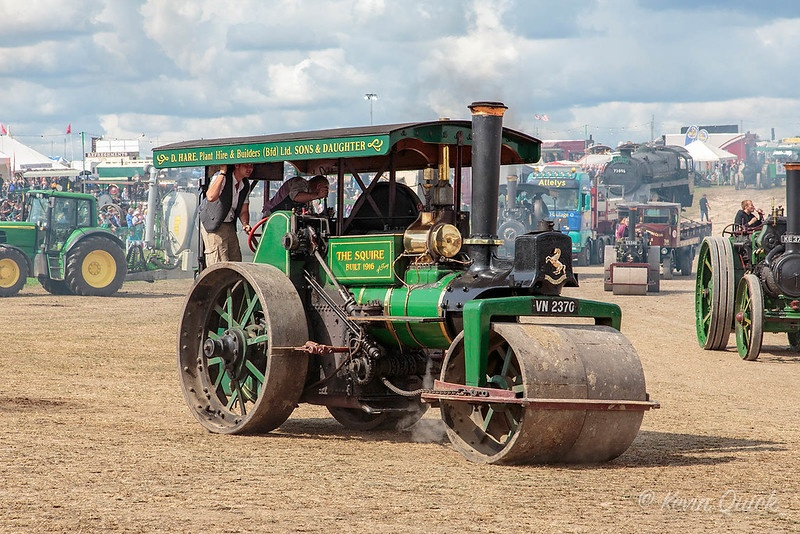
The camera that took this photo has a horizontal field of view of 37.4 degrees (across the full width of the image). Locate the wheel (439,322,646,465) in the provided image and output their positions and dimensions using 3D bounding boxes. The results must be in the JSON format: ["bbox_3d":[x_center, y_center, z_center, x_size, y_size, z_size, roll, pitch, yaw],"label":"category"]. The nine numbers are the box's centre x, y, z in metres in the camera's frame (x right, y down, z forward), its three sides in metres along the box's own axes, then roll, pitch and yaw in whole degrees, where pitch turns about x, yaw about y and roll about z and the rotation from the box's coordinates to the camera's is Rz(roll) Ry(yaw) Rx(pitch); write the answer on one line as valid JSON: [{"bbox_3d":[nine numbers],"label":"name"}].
[{"bbox_3d":[1.443,1.377,12.590,1.807,1.594,1.550,2,3,-16],"label":"wheel"}]

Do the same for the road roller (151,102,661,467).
[{"bbox_3d":[0.099,0.183,13.722,3.281,3.807,6.024,4,-2,-39],"label":"road roller"}]

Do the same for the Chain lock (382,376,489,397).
[{"bbox_3d":[0.404,1.281,12.659,1.340,0.293,0.114,-6,-36,31],"label":"Chain lock"}]

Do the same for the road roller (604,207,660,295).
[{"bbox_3d":[6.549,-0.196,33.211,1.404,2.306,4.427,1,6,8],"label":"road roller"}]

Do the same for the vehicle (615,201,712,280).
[{"bbox_3d":[9.974,-1.006,42.904,2.119,2.485,6.287,-1,-1,14],"label":"vehicle"}]

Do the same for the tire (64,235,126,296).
[{"bbox_3d":[-7.549,0.038,29.003,1.543,1.577,0.460,8,-1,-42],"label":"tire"}]

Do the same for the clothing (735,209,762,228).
[{"bbox_3d":[6.520,-0.874,21.969,0.502,0.267,0.515,0,9,5],"label":"clothing"}]

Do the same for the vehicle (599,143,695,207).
[{"bbox_3d":[12.590,-5.154,61.078,3.643,4.214,11.341,-1,0,23],"label":"vehicle"}]

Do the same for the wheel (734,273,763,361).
[{"bbox_3d":[5.793,0.825,19.439,0.358,1.419,1.076,0,0,3],"label":"wheel"}]

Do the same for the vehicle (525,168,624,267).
[{"bbox_3d":[6.345,-2.015,48.246,3.157,4.139,8.906,-1,-1,16],"label":"vehicle"}]
